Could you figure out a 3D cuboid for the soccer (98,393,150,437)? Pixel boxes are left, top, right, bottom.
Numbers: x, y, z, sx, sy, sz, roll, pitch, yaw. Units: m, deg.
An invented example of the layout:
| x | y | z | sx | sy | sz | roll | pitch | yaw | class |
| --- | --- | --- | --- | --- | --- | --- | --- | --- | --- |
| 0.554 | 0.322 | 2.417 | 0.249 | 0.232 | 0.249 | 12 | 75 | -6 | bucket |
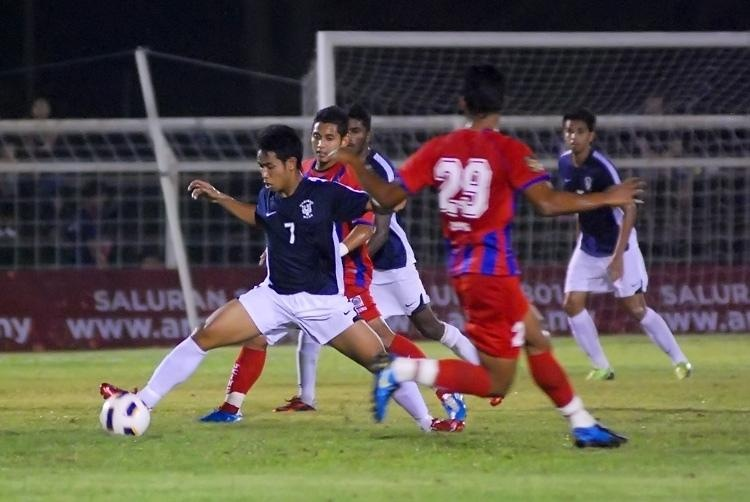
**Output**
| x | y | z | sx | sy | sz | roll | pitch | yaw | class |
| --- | --- | --- | --- | --- | --- | --- | --- | --- | --- |
| -2.638 | 1.745 | 13.627 | 0.535 | 0.398 | 0.403 | 1 | 4 | 34 | soccer |
